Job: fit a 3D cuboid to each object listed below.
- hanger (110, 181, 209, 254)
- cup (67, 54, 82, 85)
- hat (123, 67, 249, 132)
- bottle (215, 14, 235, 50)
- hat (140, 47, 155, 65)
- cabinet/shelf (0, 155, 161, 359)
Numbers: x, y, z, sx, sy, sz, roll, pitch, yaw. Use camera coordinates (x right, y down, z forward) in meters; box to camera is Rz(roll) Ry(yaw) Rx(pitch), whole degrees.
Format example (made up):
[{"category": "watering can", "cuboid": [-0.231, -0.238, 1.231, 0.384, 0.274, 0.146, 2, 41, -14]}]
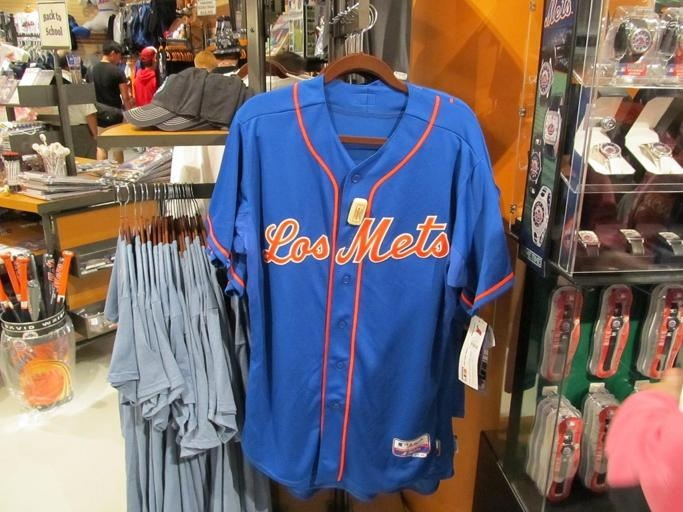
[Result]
[{"category": "hanger", "cuboid": [-0.688, -0.149, 2.226, 0.342, 0.387, 0.066, 0, 18, -12]}, {"category": "cup", "cuboid": [-1.858, -1.310, 3.997, 0.076, 0.165, 0.316, -10, 26, -23]}, {"category": "hat", "cuboid": [-0.560, -0.566, 2.109, 0.326, 0.145, 0.258, -10, 23, -27]}, {"category": "bottle", "cuboid": [-0.612, -1.181, 3.024, 0.097, 0.159, 0.235, -5, 24, -11]}, {"category": "hat", "cuboid": [-1.731, -1.792, 5.142, 0.101, 0.210, 0.097, 2, -1, 1]}, {"category": "cabinet/shelf", "cuboid": [-1.425, -0.008, 3.090, 0.508, 0.761, 0.948, 18, 27, 38]}]
